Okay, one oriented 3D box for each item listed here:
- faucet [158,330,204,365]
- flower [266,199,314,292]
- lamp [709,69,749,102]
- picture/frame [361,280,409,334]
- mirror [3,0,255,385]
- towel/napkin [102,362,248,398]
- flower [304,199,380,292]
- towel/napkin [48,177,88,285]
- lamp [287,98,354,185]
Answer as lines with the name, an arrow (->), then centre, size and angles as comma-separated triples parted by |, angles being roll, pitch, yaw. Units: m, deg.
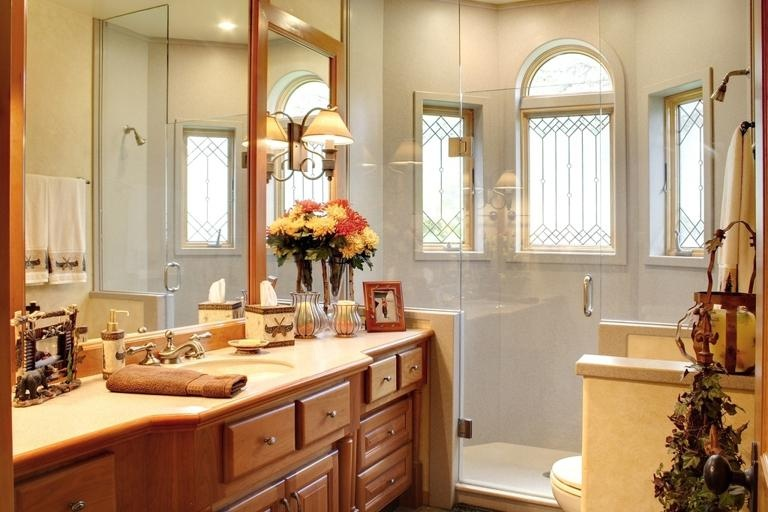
faucet -> -0.920, 0.421, 2.701 | 0.197, 0.123, 0.112 | -1, -1, 18
flower -> -0.528, -0.051, 3.469 | 0.281, 0.510, 0.171 | 1, 13, -5
lamp -> 1.918, -0.944, 3.309 | 0.156, 0.185, 0.132 | 6, 14, 14
picture/frame -> 0.004, 0.322, 3.659 | 0.273, 0.338, 0.048 | 3, -23, -16
mirror -> -1.003, -0.412, 2.829 | 0.216, 1.483, 0.952 | 10, 15, 30
towel/napkin -> -0.797, 0.493, 2.339 | 0.336, 0.072, 0.215 | 0, 0, 5
flower -> -0.313, -0.093, 3.725 | 0.469, 0.590, 0.552 | 2, 1, -38
towel/napkin -> -1.300, -0.108, 2.457 | 0.175, 0.427, 0.104 | -8, 17, -37
lamp -> -0.342, -0.693, 3.736 | 0.402, 0.527, 0.401 | 0, -1, 22
